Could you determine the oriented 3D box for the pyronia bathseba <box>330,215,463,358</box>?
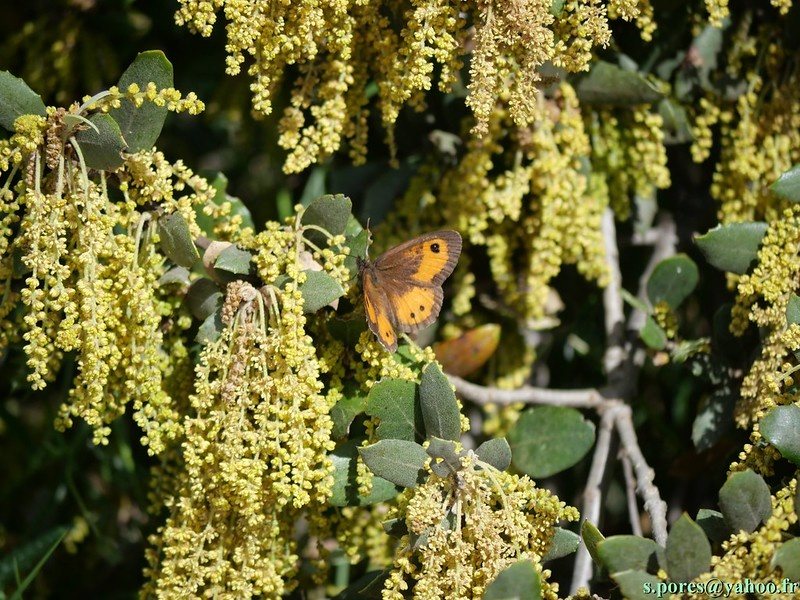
[{"bbox_3d":[-0.010,-0.034,1.816,0.204,0.200,0.094,-29,3,-39],"label":"pyronia bathseba"}]
